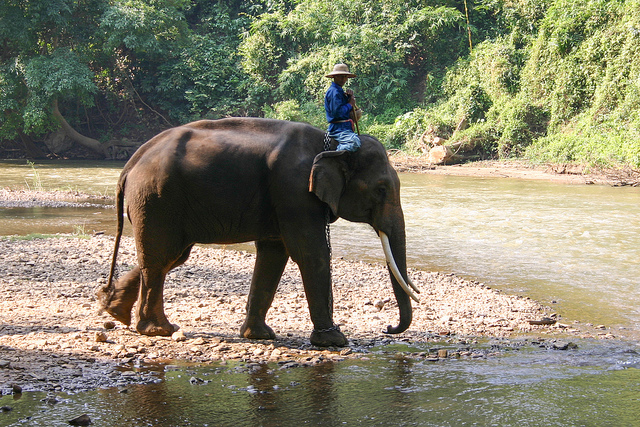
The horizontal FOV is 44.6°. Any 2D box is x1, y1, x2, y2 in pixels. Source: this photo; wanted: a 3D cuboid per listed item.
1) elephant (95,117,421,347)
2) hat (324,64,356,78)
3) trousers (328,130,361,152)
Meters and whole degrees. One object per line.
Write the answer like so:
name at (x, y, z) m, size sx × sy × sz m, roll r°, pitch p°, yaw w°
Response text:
elephant at (-0.664, 0.347, 12.419) m, size 5.926 × 3.155 × 2.036 m, roll 0°, pitch -5°, yaw 22°
hat at (0.312, -2.269, 12.464) m, size 0.483 × 0.213 × 0.537 m, roll 3°, pitch 9°, yaw 0°
trousers at (0.367, -1.125, 12.087) m, size 0.474 × 0.167 × 0.305 m, roll -3°, pitch -16°, yaw -7°
